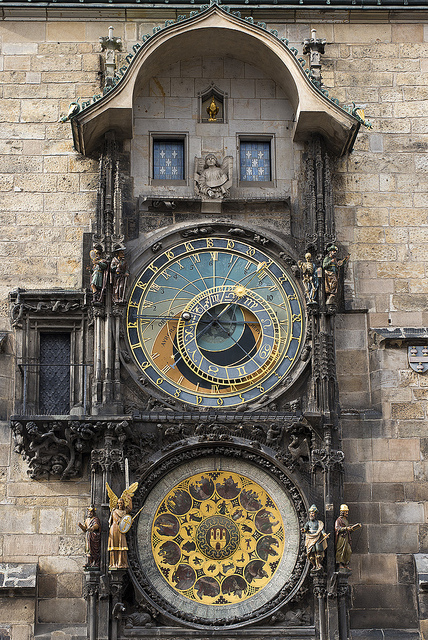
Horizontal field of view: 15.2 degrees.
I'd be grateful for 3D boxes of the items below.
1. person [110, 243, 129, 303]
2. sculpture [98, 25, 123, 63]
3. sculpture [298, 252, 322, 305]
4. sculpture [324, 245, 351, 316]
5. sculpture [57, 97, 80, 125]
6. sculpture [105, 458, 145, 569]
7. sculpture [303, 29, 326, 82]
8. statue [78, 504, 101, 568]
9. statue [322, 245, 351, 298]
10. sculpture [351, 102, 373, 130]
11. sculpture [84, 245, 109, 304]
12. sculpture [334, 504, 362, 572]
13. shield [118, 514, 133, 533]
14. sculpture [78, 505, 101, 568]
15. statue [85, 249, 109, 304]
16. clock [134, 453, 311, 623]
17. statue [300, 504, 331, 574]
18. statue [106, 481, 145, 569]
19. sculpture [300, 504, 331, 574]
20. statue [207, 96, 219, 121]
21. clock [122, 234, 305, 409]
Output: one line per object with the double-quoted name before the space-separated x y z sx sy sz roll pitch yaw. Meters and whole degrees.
"person" -1.301 -0.615 21.857 0.212 0.850 0.296 -3 -8 13
"sculpture" -1.518 -3.950 23.392 0.449 0.688 0.472 -1 -46 -4
"sculpture" 1.323 -0.516 22.009 0.261 0.703 0.295 2 -9 -23
"sculpture" 1.669 -0.565 21.981 0.334 0.848 0.217 7 -12 -25
"sculpture" -2.075 -2.909 22.746 0.136 0.477 0.184 29 -17 12
"sculpture" -1.174 2.495 20.479 0.483 1.288 0.188 -1 -11 4
"sculpture" 1.467 -3.804 23.208 0.330 0.853 0.331 -4 -19 8
"statue" -1.547 2.761 20.483 0.179 0.760 0.267 -5 3 27
"statue" 1.685 -0.622 22.003 0.388 0.764 0.218 7 -16 -23
"sculpture" 2.058 -2.799 22.483 0.160 0.418 0.174 -43 -3 -39
"sculpture" -1.596 -0.590 21.766 0.295 0.765 0.204 1 -9 12
"sculpture" 1.697 2.819 20.687 0.344 0.849 0.376 1 -8 -17
"shield" -1.140 2.586 20.393 0.172 0.238 0.039 29 -37 -16
"sculpture" -1.560 2.760 20.465 0.180 0.763 0.268 -5 3 27
"statue" -1.567 -0.568 21.798 0.267 0.746 0.244 -1 -8 -4
"clock" 0.089 2.923 20.839 1.973 2.017 0.130 -4 -17 -11
"statue" 1.305 2.818 20.577 0.362 0.860 0.320 -2 -8 5
"statue" -1.165 2.627 20.466 0.405 1.081 0.275 1 -8 -18
"sculpture" 1.288 2.807 20.505 0.367 0.833 0.233 -2 -2 -13
"statue" -0.015 -3.019 23.282 0.167 0.367 0.086 2 -9 -24
"clock" -0.039 0.150 21.934 2.241 2.239 0.382 3 -24 -5
